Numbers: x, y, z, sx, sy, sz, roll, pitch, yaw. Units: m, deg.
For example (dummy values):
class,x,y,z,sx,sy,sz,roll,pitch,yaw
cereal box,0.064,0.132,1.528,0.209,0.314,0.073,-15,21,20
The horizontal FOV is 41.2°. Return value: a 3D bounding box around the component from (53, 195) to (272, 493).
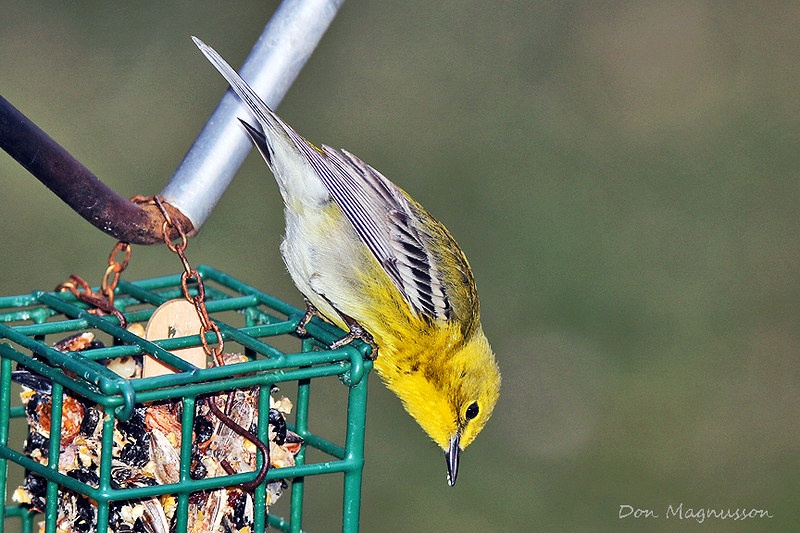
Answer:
class,x,y,z,sx,sy,sz,roll,pitch,yaw
component,-0.859,0.364,3.780,0.603,1.066,0.576,-21,47,-33
